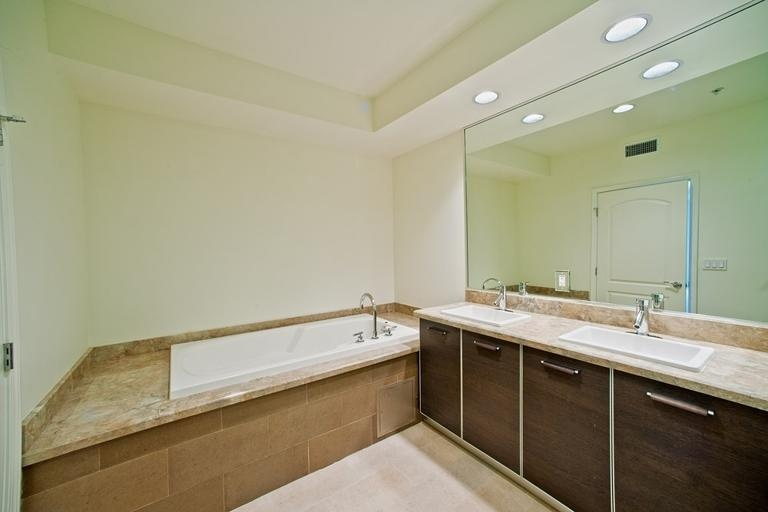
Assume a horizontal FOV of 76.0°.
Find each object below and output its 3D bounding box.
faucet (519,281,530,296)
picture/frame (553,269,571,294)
[{"bbox_3d":[1.188,0.278,4.194,0.098,0.129,0.094,0,-2,22],"label":"faucet"},{"bbox_3d":[1.451,0.206,3.981,0.035,0.269,0.191,6,-7,-37],"label":"picture/frame"}]
